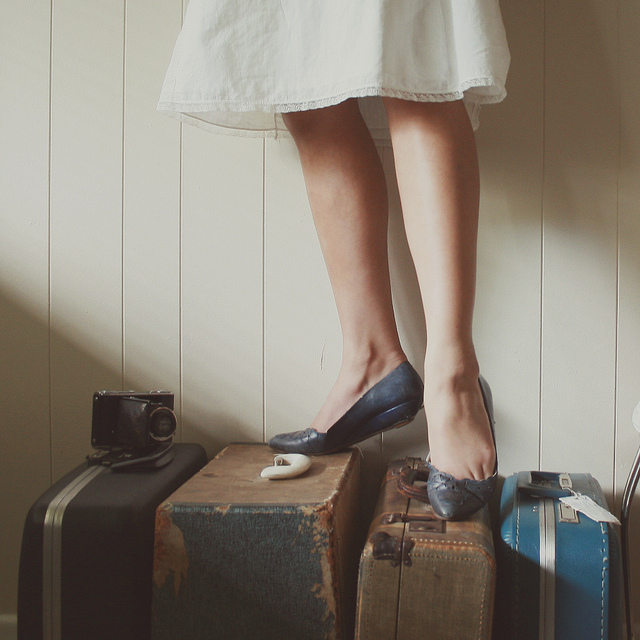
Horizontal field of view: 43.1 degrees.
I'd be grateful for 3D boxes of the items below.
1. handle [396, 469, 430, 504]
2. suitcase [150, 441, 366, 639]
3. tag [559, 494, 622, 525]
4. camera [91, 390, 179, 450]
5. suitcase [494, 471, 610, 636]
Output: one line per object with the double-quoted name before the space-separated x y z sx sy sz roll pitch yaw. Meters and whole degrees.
"handle" 0.150 0.262 1.301 0.040 0.014 0.033 20 27 34
"suitcase" -0.083 0.345 1.331 0.296 0.255 0.332 4 5 6
"tag" 0.415 0.271 1.221 0.034 0.014 0.097 -8 19 -24
"camera" -0.320 0.140 1.397 0.109 0.118 0.089 4 -3 -38
"suitcase" 0.355 0.265 1.287 0.132 0.342 0.292 0 -2 6
